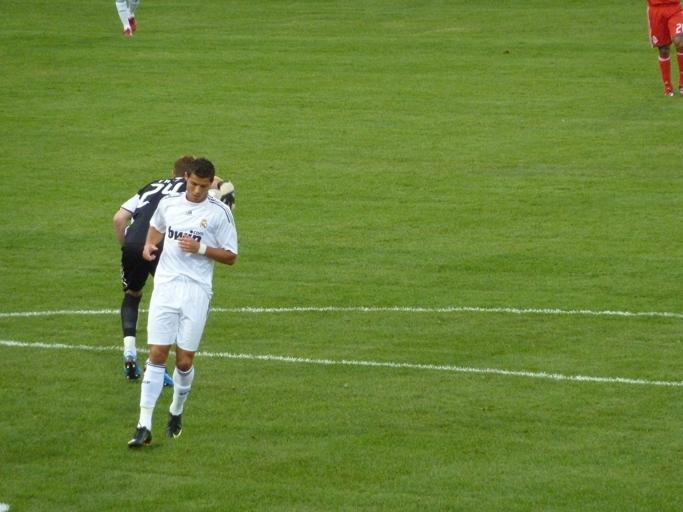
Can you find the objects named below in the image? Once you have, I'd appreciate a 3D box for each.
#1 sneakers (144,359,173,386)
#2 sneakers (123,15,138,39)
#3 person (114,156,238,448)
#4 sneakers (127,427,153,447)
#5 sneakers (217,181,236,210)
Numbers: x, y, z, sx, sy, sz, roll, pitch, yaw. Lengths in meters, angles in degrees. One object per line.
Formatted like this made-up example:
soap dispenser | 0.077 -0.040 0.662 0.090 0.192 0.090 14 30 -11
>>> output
sneakers | -2.252 1.513 24.217 0.303 0.386 0.167 -2 -8 -8
sneakers | -3.681 -3.994 33.496 0.159 0.380 0.183 12 11 -29
person | -1.860 0.557 23.337 1.052 3.474 1.052 3 14 -3
sneakers | -2.461 2.197 23.269 0.283 0.270 0.194 2 14 -5
sneakers | -1.525 -0.764 24.681 0.299 0.326 0.149 4 -29 -26
